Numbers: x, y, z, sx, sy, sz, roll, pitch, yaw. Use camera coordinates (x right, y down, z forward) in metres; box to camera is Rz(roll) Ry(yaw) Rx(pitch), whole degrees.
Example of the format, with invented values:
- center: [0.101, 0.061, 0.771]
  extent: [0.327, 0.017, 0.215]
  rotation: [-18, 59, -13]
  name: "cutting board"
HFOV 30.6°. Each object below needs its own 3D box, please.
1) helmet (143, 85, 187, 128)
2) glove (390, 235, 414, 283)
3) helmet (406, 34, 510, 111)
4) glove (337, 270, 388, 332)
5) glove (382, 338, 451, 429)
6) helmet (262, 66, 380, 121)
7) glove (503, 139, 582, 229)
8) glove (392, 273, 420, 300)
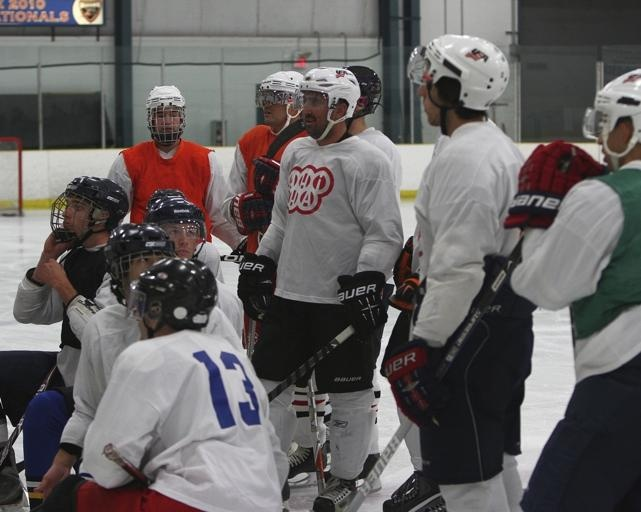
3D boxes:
- center: [-0.865, -0.816, 6.548]
  extent: [0.213, 0.285, 0.277]
  rotation: [-5, -6, -1]
  name: "helmet"
- center: [0.324, 0.011, 5.181]
  extent: [0.055, 0.178, 0.124]
  rotation: [15, -10, -8]
  name: "glove"
- center: [0.580, -0.782, 4.716]
  extent: [0.394, 0.251, 0.321]
  rotation: [26, 30, 24]
  name: "helmet"
- center: [0.182, 0.201, 5.047]
  extent: [0.245, 0.264, 0.206]
  rotation: [-3, 2, 30]
  name: "glove"
- center: [0.364, 0.473, 4.426]
  extent: [0.221, 0.320, 0.124]
  rotation: [-14, -3, 32]
  name: "glove"
- center: [-0.041, -0.887, 6.151]
  extent: [0.492, 0.260, 0.362]
  rotation: [0, 1, -5]
  name: "helmet"
- center: [0.819, -0.280, 4.353]
  extent: [0.119, 0.332, 0.257]
  rotation: [39, -10, -25]
  name: "glove"
- center: [0.346, 0.106, 4.779]
  extent: [0.052, 0.065, 0.162]
  rotation: [25, 31, 4]
  name: "glove"
